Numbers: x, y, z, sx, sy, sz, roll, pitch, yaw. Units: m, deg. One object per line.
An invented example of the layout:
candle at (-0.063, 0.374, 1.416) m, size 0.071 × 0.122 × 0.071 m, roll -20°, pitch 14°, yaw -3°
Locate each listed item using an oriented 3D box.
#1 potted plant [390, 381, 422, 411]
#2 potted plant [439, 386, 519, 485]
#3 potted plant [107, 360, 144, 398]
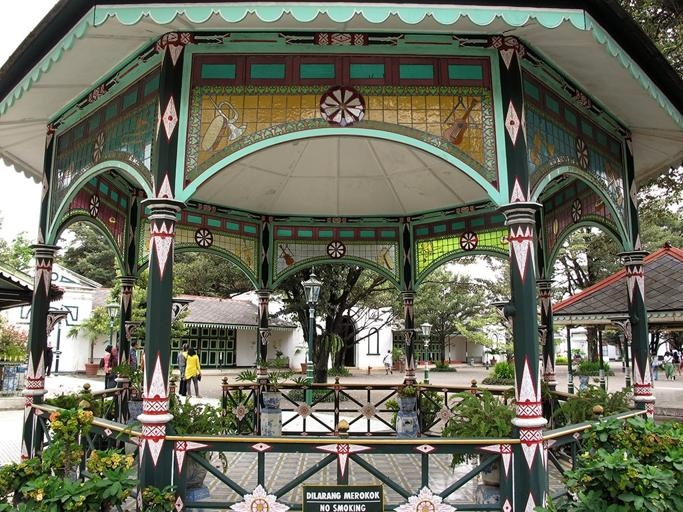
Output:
potted plant at (1.282, 2.715, 12.046) m, size 0.450 × 0.559 × 1.284 m, roll -2°, pitch -11°, yaw 6°
potted plant at (1.770, 2.441, 8.222) m, size 1.158 × 1.299 × 1.177 m, roll -8°, pitch -10°, yaw 42°
potted plant at (-3.880, 2.257, 11.102) m, size 0.492 × 0.637 × 1.032 m, roll 3°, pitch -11°, yaw -20°
